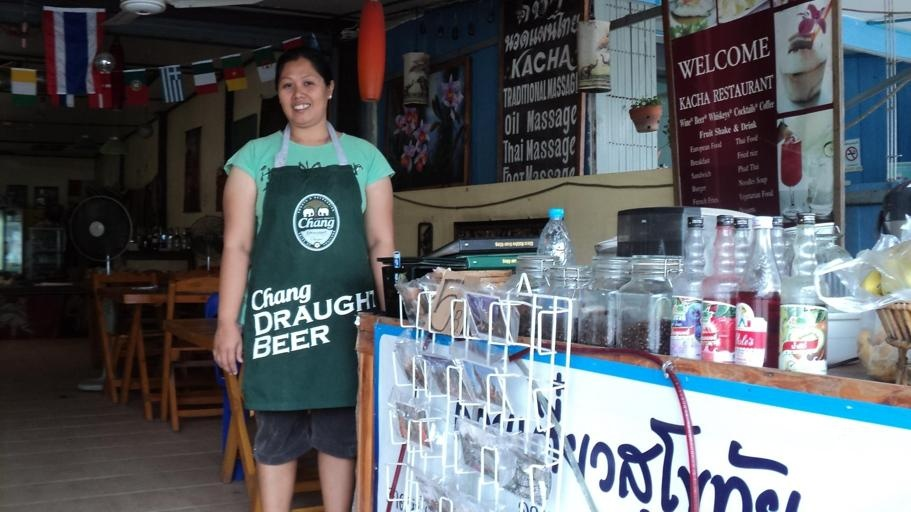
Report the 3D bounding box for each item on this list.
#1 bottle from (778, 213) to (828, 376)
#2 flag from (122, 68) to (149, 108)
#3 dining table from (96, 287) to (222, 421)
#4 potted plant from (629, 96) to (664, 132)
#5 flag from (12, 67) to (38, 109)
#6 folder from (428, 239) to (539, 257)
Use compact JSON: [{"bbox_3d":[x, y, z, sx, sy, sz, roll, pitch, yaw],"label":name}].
[{"bbox_3d":[1.150,0.113,2.190,0.134,0.515,0.252,0,2,27],"label":"bottle"},{"bbox_3d":[-3.506,-1.850,7.223,0.213,0.347,0.369,-1,2,-26],"label":"flag"},{"bbox_3d":[-2.693,0.905,5.949,0.748,0.651,1.370,-1,2,-33],"label":"dining table"},{"bbox_3d":[1.647,-1.251,5.877,0.329,0.329,0.316,-1,-4,23],"label":"potted plant"},{"bbox_3d":[-4.496,-1.777,6.868,0.209,0.372,0.170,-1,2,-35],"label":"flag"},{"bbox_3d":[0.130,-0.044,2.976,0.469,0.077,0.150,0,2,4],"label":"folder"}]
